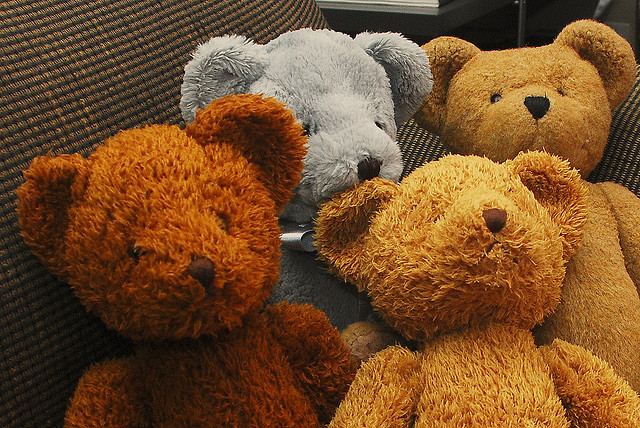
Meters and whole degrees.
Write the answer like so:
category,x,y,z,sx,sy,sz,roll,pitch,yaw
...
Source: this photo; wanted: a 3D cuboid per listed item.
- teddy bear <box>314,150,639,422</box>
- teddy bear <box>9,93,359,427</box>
category,x,y,z,sx,sy,sz,roll,pitch,yaw
teddy bear,0.189,0.094,1.140,0.468,0.374,0.508,-4,73,-12
teddy bear,-0.203,0.077,0.981,0.372,0.467,0.245,-21,5,-25
